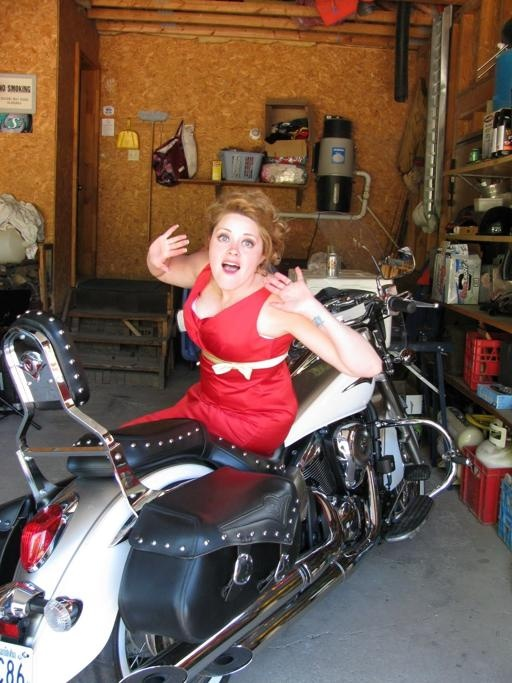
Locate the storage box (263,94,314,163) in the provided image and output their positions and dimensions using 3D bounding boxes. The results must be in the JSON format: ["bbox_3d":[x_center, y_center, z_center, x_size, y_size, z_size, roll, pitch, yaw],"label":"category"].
[{"bbox_3d":[0.352,-2.380,5.841,0.563,0.750,0.435,3,6,4],"label":"storage box"}]

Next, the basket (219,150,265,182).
[{"bbox_3d":[-0.159,-1.941,5.737,0.328,0.278,0.454,0,9,-8],"label":"basket"}]

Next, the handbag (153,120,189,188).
[{"bbox_3d":[-0.965,-2.138,5.841,0.400,0.706,0.182,1,6,-13],"label":"handbag"}]

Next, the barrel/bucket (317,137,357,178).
[{"bbox_3d":[0.869,-1.919,5.523,0.418,0.414,0.393,1,5,0],"label":"barrel/bucket"}]
